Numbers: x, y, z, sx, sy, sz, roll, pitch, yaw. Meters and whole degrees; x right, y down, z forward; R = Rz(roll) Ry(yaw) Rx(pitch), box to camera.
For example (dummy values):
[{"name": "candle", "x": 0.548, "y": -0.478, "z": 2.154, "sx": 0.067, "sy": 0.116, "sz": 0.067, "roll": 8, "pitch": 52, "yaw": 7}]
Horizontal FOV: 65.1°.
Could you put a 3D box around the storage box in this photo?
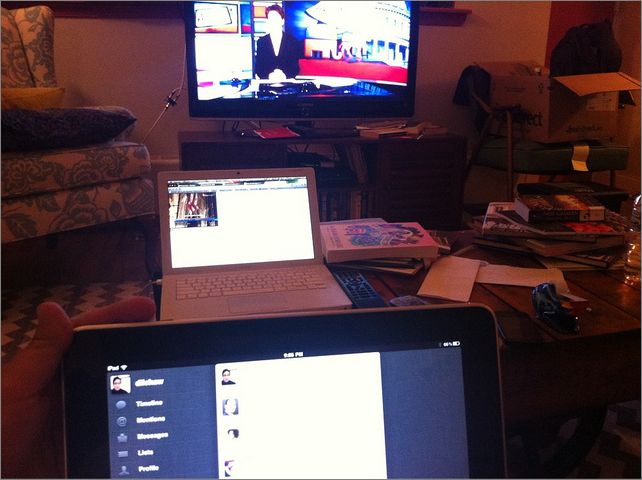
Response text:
[{"name": "storage box", "x": 1.270, "y": -0.720, "z": 2.669, "sx": 0.467, "sy": 0.373, "sz": 0.811, "roll": -10, "pitch": 24, "yaw": -18}]

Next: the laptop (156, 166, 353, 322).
[{"name": "laptop", "x": -0.169, "y": -0.013, "z": 1.146, "sx": 0.420, "sy": 0.255, "sz": 0.391, "roll": -2, "pitch": 15, "yaw": -9}]

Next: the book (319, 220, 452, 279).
[{"name": "book", "x": 0.148, "y": 0.010, "z": 1.292, "sx": 0.177, "sy": 0.045, "sz": 0.190, "roll": -2, "pitch": 21, "yaw": -7}]

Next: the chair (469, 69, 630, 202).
[{"name": "chair", "x": 1.196, "y": -0.629, "z": 2.779, "sx": 0.667, "sy": 0.696, "sz": 0.876, "roll": -5, "pitch": 14, "yaw": -19}]

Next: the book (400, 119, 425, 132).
[{"name": "book", "x": 0.505, "y": -0.619, "z": 2.749, "sx": 0.104, "sy": 0.029, "sz": 0.107, "roll": 12, "pitch": 36, "yaw": 14}]

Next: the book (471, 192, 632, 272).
[{"name": "book", "x": 0.627, "y": -0.011, "z": 1.334, "sx": 0.261, "sy": 0.063, "sz": 0.260, "roll": 14, "pitch": 33, "yaw": 25}]
